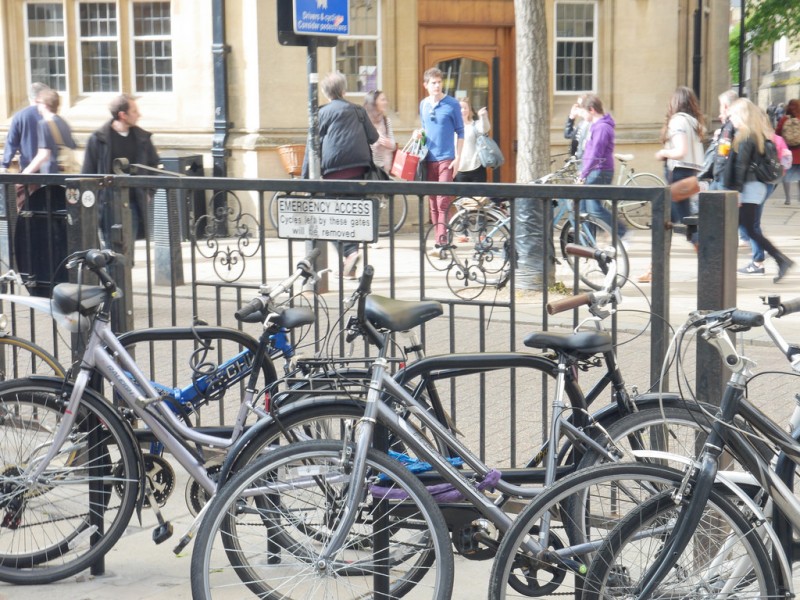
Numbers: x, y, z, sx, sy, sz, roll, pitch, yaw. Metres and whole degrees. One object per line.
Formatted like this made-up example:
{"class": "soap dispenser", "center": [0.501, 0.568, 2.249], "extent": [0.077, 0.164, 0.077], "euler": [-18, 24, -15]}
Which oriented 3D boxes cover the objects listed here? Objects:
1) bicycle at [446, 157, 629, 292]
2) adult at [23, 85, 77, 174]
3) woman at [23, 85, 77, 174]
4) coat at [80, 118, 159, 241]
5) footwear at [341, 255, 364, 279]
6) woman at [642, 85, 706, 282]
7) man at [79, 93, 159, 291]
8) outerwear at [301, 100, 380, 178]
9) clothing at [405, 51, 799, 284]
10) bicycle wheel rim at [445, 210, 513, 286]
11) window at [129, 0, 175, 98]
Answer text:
{"class": "bicycle", "center": [0.959, -0.528, 11.957], "extent": [1.365, 0.786, 0.636], "euler": [0, -10, -18]}
{"class": "adult", "center": [-3.495, -1.696, 16.709], "extent": [0.388, 0.833, 0.838], "euler": [1, 6, 17]}
{"class": "woman", "center": [-3.499, -1.696, 16.694], "extent": [0.388, 0.831, 0.808], "euler": [1, 6, 17]}
{"class": "coat", "center": [-2.630, -1.073, 15.983], "extent": [0.772, 1.410, 0.379], "euler": [1, 29, -8]}
{"class": "footwear", "center": [-0.358, -0.250, 12.221], "extent": [0.089, 0.083, 0.235], "euler": [16, -17, -2]}
{"class": "woman", "center": [2.874, -1.270, 17.282], "extent": [0.534, 1.727, 0.562], "euler": [-3, -5, 43]}
{"class": "man", "center": [-2.642, -1.109, 15.928], "extent": [0.739, 1.661, 0.503], "euler": [2, 28, -6]}
{"class": "outerwear", "center": [-0.591, -1.634, 16.537], "extent": [0.837, 0.712, 0.457], "euler": [-8, 16, -30]}
{"class": "clothing", "center": [2.547, -1.286, 17.408], "extent": [3.625, 2.056, 1.742], "euler": [0, 1, 5]}
{"class": "bicycle wheel rim", "center": [0.676, -0.434, 12.269], "extent": [0.816, 0.351, 0.198], "euler": [0, 11, -44]}
{"class": "window", "center": [-3.100, -3.178, 21.035], "extent": [0.573, 1.119, 0.103], "euler": [3, 7, 29]}
